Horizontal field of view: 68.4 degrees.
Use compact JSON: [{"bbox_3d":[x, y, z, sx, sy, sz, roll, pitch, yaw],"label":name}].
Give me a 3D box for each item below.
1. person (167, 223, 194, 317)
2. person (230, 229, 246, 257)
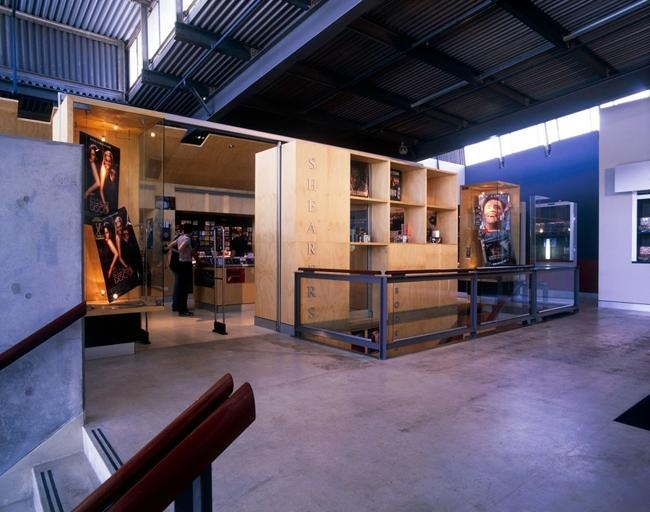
[{"bbox_3d":[-2.784,0.274,9.275,0.416,1.757,1.344,-2,10,-18],"label":"person"},{"bbox_3d":[-2.042,-0.255,11.414,0.374,0.559,1.695,-1,10,-10],"label":"person"}]
